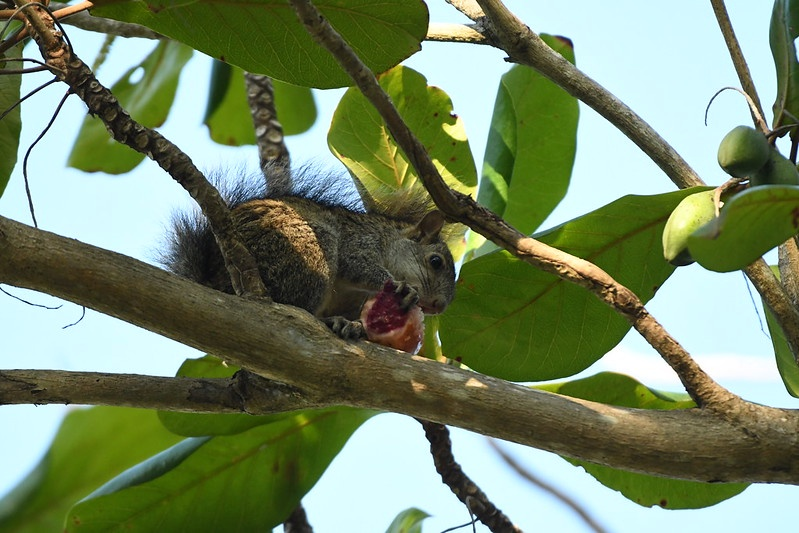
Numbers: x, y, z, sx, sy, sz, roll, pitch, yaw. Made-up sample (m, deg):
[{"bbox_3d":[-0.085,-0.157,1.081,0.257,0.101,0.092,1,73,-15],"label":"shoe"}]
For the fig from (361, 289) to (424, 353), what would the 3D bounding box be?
[{"bbox_3d":[-0.009,0.183,3.761,0.246,0.220,0.113,27,-60,-15],"label":"fig"}]

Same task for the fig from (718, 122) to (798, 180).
[{"bbox_3d":[1.153,-0.407,3.481,0.300,0.170,0.178,-27,-65,-28],"label":"fig"}]
